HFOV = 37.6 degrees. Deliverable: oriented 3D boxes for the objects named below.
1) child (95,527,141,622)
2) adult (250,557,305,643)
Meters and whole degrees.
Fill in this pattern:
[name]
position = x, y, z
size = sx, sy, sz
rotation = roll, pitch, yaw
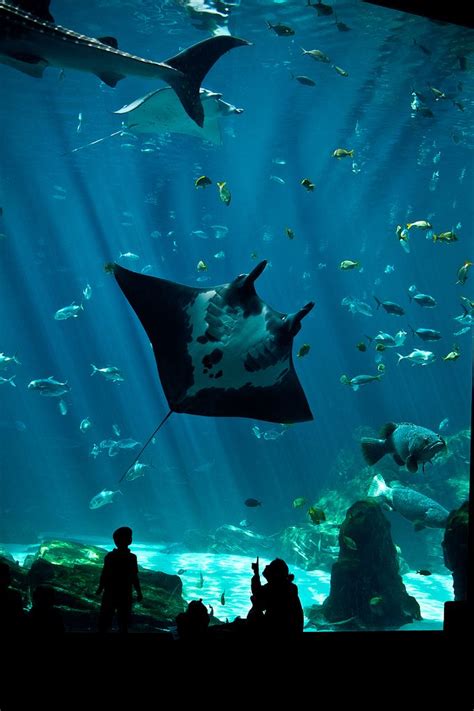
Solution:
[child]
position = -1.223, 2.340, 7.242
size = 0.444, 1.179, 0.494
rotation = 1, -2, -9
[adult]
position = 0.378, 2.369, 6.970
size = 0.329, 0.710, 0.540
rotation = 2, -2, -37
